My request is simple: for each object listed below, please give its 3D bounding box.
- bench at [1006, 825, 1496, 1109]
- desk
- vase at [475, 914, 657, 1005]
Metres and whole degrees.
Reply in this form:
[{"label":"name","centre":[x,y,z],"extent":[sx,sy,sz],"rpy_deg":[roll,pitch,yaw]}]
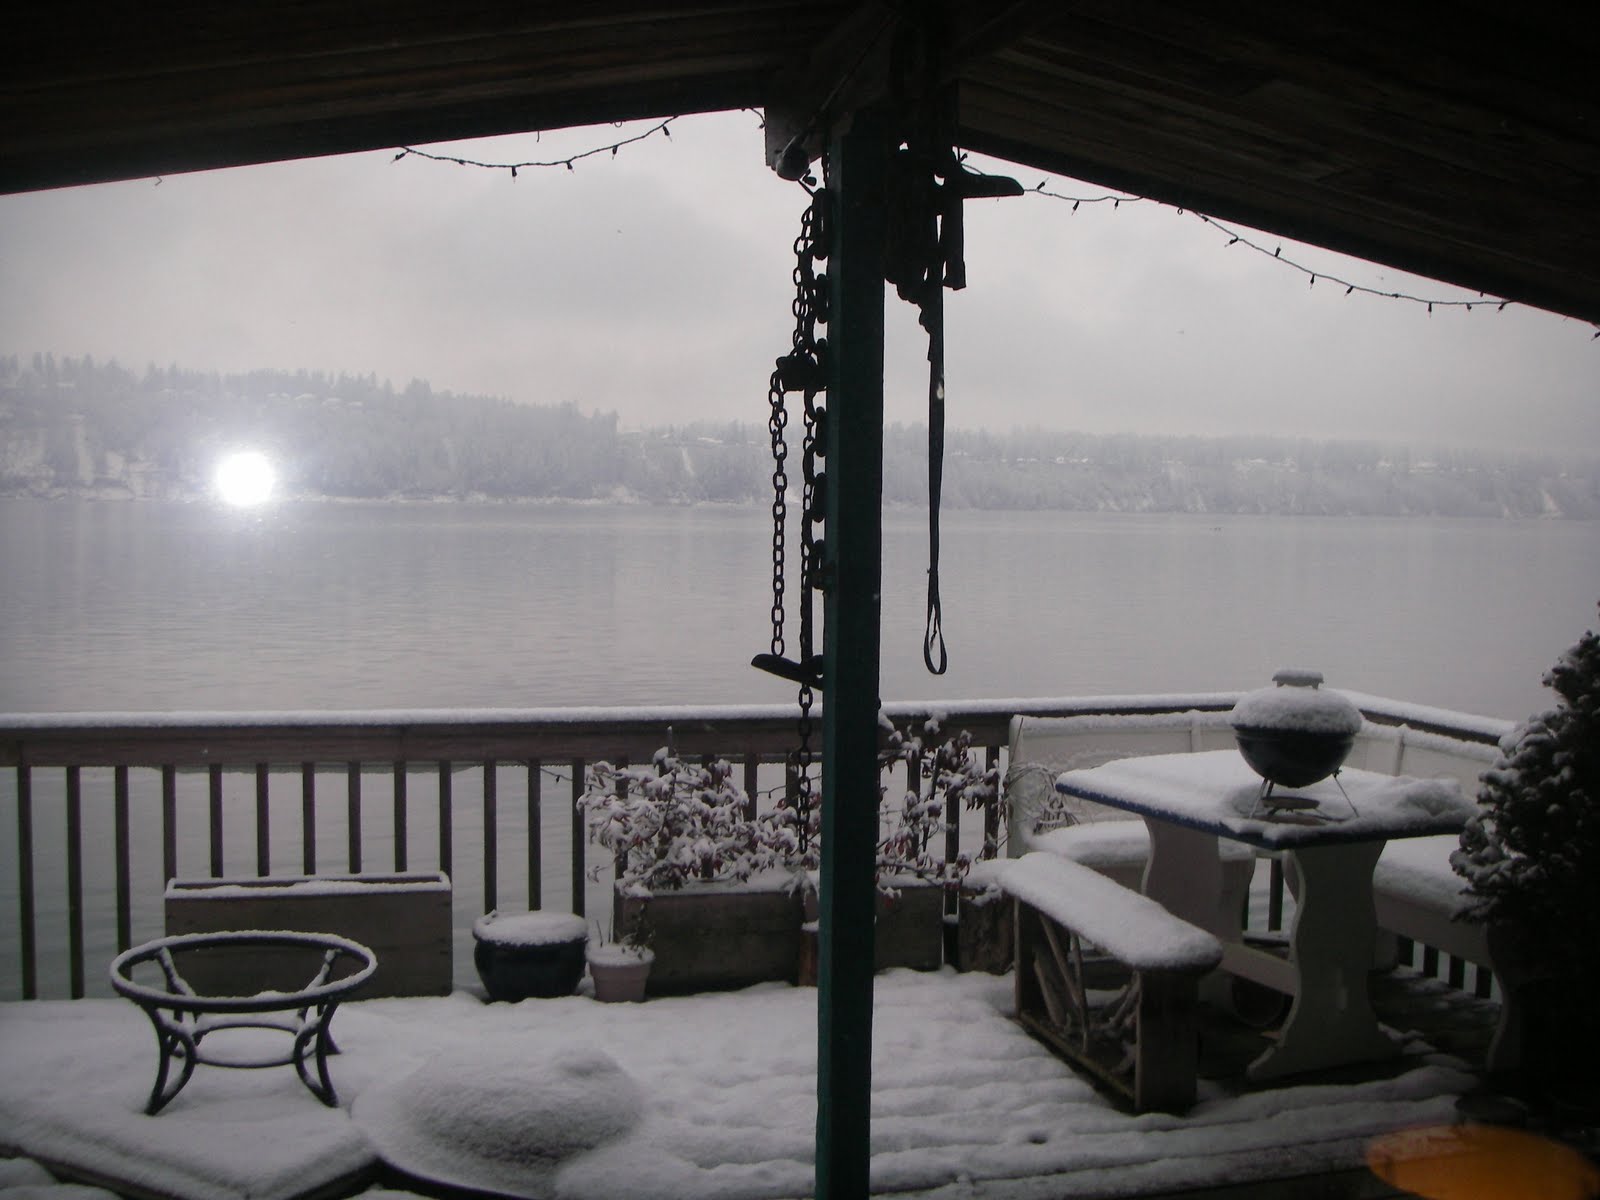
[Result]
[{"label":"bench","centre":[1.676,1.560,7.519],"extent":[1.218,0.684,1.247],"rpy_deg":[-2,4,-19]},{"label":"desk","centre":[1.999,1.331,7.563],"extent":[1.239,0.992,1.272],"rpy_deg":[-1,-1,-21]},{"label":"vase","centre":[-1.086,1.557,8.067],"extent":[0.623,0.314,0.405],"rpy_deg":[2,-3,-22]}]
